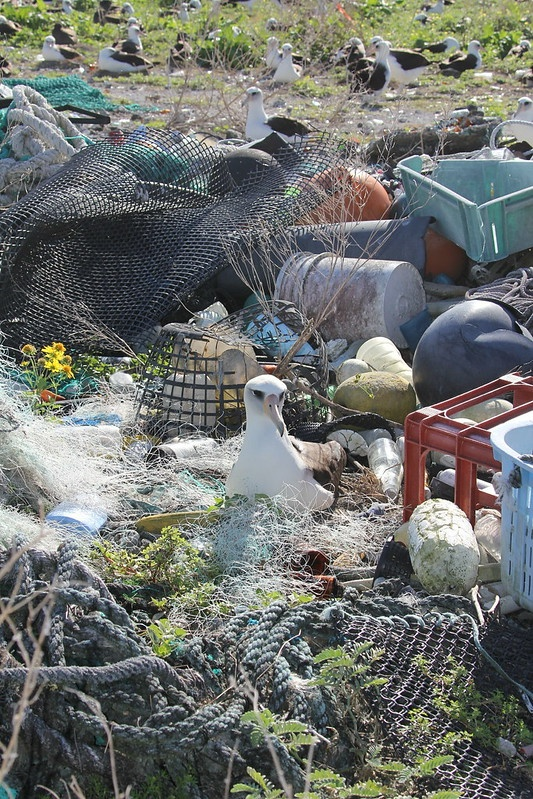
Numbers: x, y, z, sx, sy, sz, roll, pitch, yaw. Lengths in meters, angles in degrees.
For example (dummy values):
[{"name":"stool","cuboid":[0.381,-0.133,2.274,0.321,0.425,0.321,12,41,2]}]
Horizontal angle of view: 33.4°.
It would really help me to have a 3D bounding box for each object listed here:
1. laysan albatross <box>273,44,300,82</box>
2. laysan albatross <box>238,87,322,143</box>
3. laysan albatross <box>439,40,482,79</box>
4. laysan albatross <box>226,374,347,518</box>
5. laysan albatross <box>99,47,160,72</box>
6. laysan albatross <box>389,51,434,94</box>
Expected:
[{"name":"laysan albatross","cuboid":[0.233,-4.113,10.878,0.298,0.430,0.675,-2,17,2]},{"name":"laysan albatross","cuboid":[0.104,-2.514,7.936,0.757,0.519,0.371,-11,40,-26]},{"name":"laysan albatross","cuboid":[2.708,-4.835,12.668,0.599,0.490,0.744,8,20,29]},{"name":"laysan albatross","cuboid":[0.084,0.163,3.050,0.259,0.523,0.496,16,26,42]},{"name":"laysan albatross","cuboid":[-1.938,-4.674,12.317,0.705,0.310,0.370,4,-17,9]},{"name":"laysan albatross","cuboid":[1.830,-4.275,11.479,0.464,0.483,0.619,10,22,33]}]
